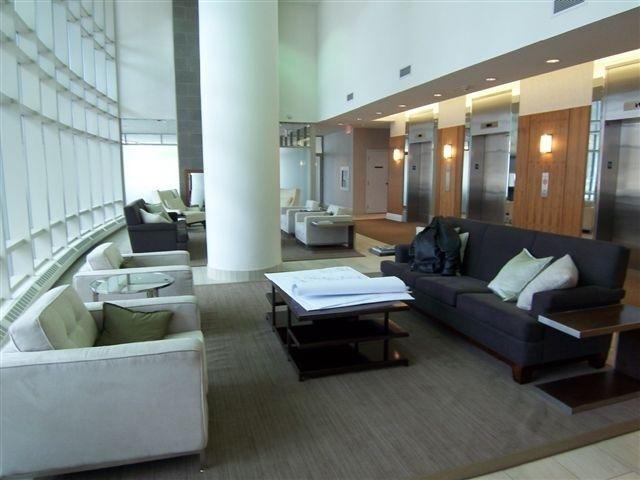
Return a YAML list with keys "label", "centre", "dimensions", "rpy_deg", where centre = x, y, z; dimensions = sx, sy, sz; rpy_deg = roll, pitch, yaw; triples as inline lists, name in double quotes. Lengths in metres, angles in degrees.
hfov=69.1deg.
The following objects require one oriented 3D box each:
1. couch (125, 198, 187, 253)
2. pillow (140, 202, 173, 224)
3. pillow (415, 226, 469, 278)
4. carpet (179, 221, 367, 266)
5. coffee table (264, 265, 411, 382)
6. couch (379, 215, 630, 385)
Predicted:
- label: "couch"
  centre: [-2.813, -0.262, 8.078]
  dimensions: [0.900, 0.774, 1.175]
  rpy_deg: [-2, 8, -12]
- label: "pillow"
  centre: [-3.152, -0.521, 8.987]
  dimensions: [0.517, 0.282, 0.859]
  rpy_deg: [1, 21, -21]
- label: "pillow"
  centre: [1.395, 0.160, 5.331]
  dimensions: [0.509, 0.286, 0.462]
  rpy_deg: [9, 50, 18]
- label: "carpet"
  centre: [-0.922, 0.058, 9.613]
  dimensions: [3.512, 0.212, 3.305]
  rpy_deg: [-4, 9, -14]
- label: "coffee table"
  centre: [0.190, 0.852, 4.258]
  dimensions: [1.024, 0.556, 1.341]
  rpy_deg: [-3, 11, -20]
- label: "couch"
  centre: [1.740, 0.617, 4.466]
  dimensions: [0.723, 0.683, 1.626]
  rpy_deg: [-2, 8, -14]
